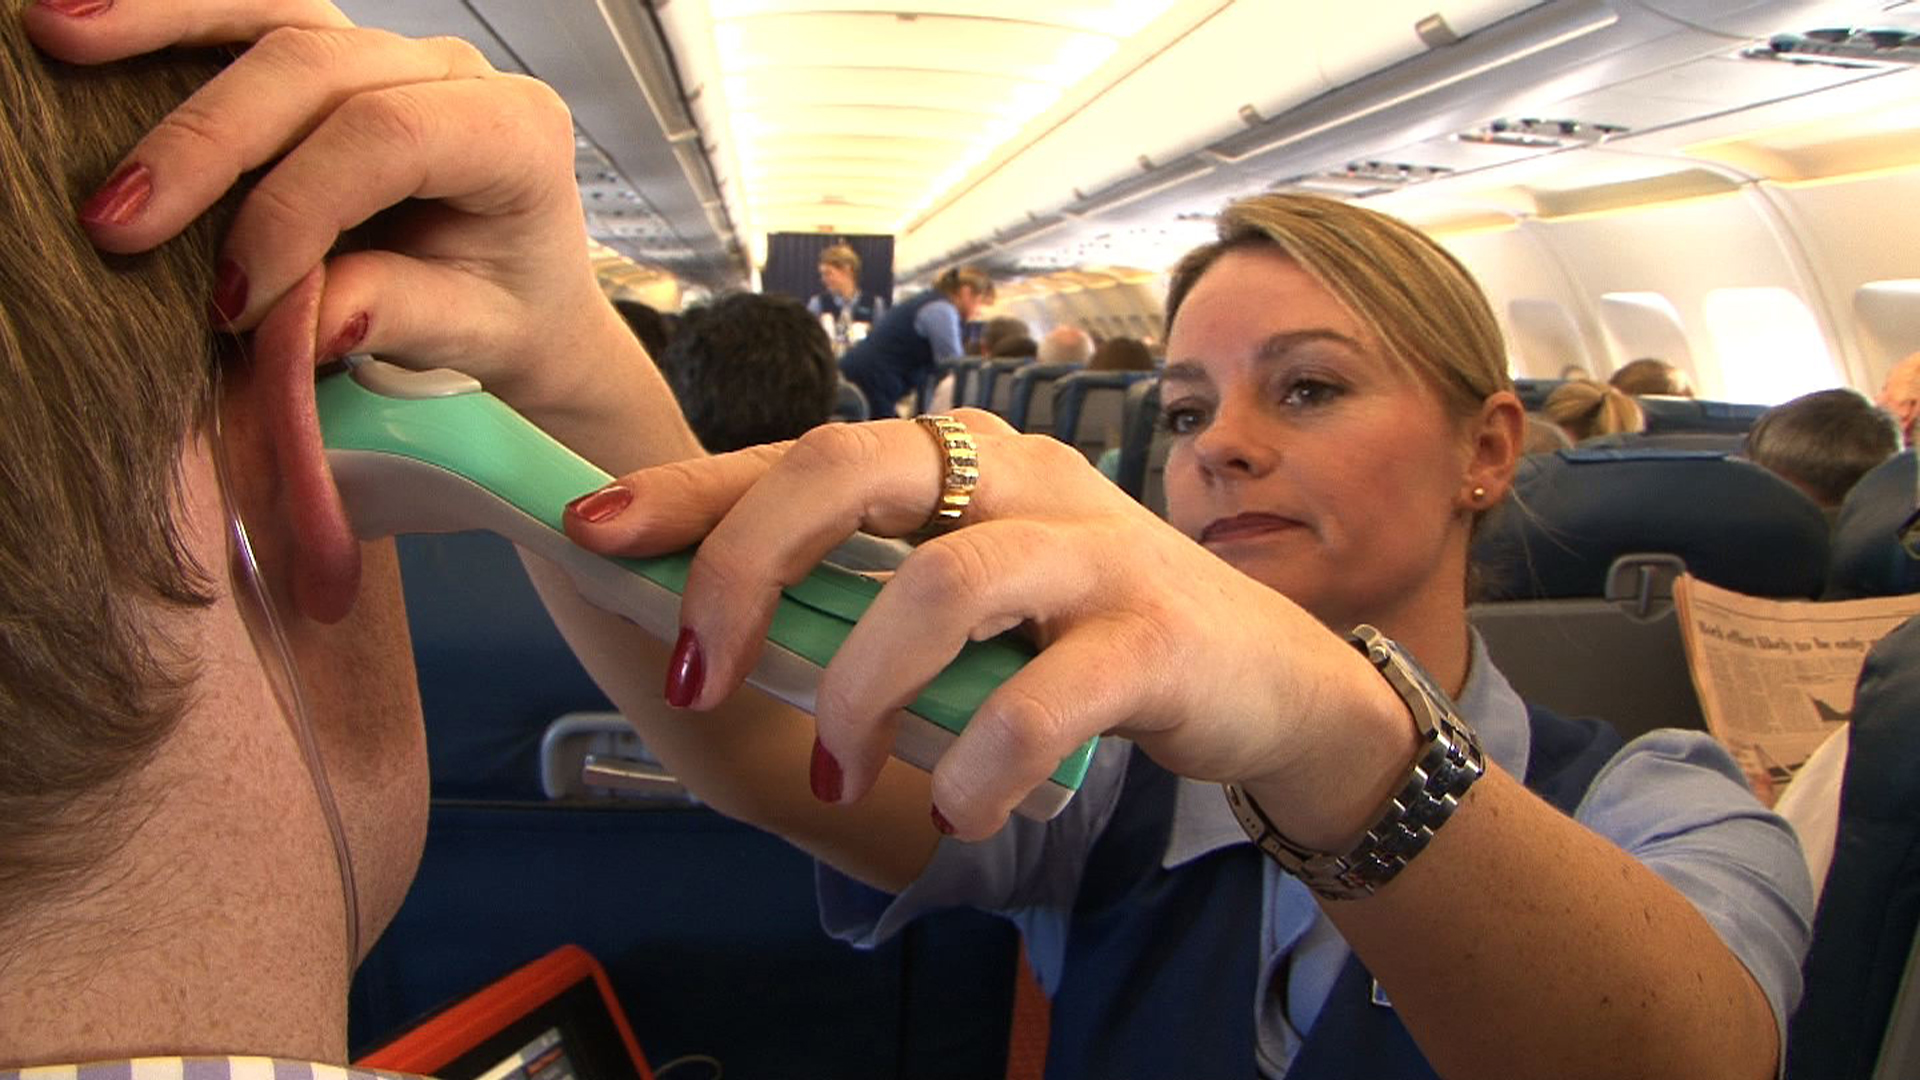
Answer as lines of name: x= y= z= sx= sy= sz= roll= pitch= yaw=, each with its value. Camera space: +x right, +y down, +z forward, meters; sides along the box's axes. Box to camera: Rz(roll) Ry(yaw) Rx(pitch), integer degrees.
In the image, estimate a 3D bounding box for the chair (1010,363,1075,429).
chair: x=0.404 y=-0.775 z=6.869 sx=0.343 sy=0.455 sz=0.455 roll=1 pitch=20 yaw=0
